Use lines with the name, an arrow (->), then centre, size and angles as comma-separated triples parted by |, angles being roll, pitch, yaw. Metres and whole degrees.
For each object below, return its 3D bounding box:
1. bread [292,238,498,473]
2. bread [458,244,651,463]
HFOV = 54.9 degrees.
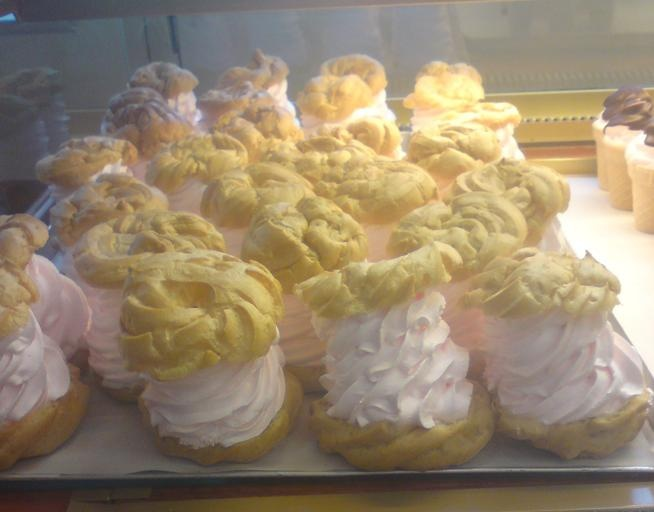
bread -> 0.151, 0.207, 1.668 | 0.535, 0.570, 0.496 | -9, 5, -6
bread -> 0.491, 0.218, 1.533 | 0.359, 0.273, 0.495 | -38, 49, -13
